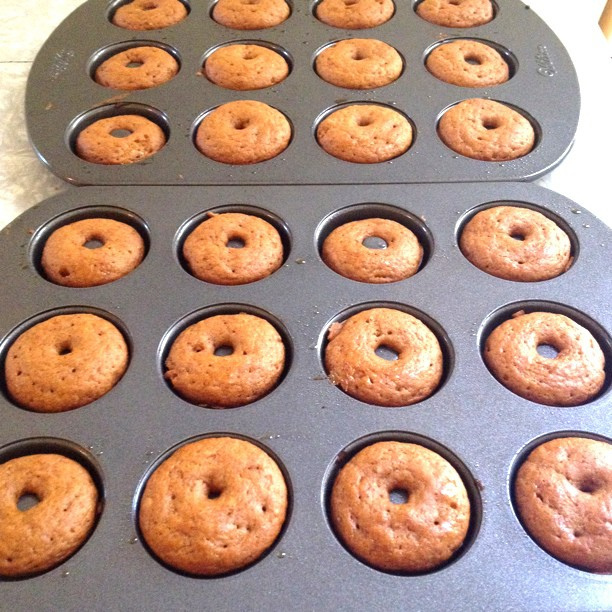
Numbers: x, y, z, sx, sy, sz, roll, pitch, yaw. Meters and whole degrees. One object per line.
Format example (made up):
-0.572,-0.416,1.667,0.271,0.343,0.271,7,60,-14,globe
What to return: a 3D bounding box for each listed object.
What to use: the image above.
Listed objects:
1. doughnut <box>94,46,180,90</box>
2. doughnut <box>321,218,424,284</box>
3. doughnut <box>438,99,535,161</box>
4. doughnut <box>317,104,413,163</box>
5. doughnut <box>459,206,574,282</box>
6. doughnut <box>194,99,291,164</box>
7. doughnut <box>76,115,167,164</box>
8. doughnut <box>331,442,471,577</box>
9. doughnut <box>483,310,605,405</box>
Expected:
-0.485,-0.734,2.207,0.181,0.039,0.177,3,5,-23,doughnut
0.166,-0.118,1.745,0.279,0.266,0.070,-8,61,4,doughnut
0.468,-0.455,1.929,0.211,0.056,0.233,-27,51,-25,doughnut
0.156,-0.448,1.926,0.236,0.053,0.213,26,50,23,doughnut
0.481,-0.152,1.709,0.258,0.067,0.235,13,57,12,doughnut
-0.138,-0.513,2.016,0.242,0.060,0.237,-21,29,-31,doughnut
-0.476,-0.432,1.948,0.236,0.044,0.197,-20,49,-19,doughnut
0.163,0.351,1.341,0.259,0.075,0.226,4,60,-7,doughnut
0.477,0.106,1.486,0.205,0.057,0.185,-6,43,-4,doughnut
